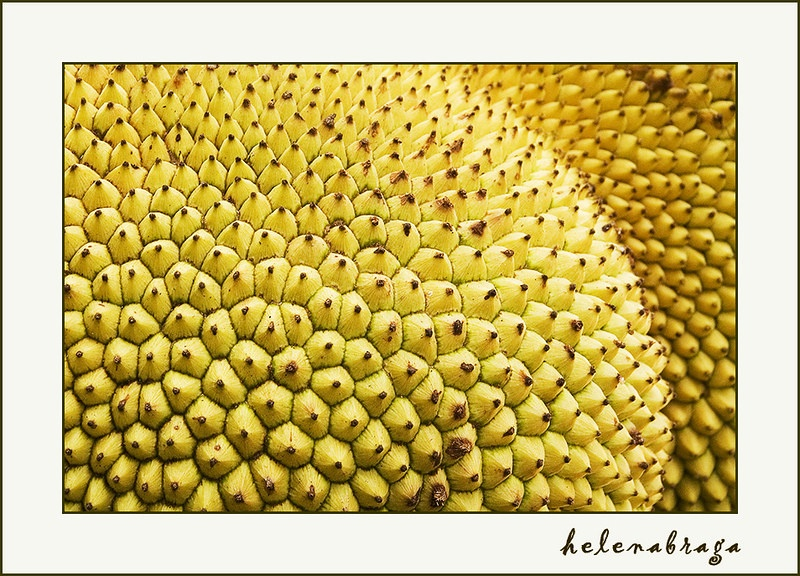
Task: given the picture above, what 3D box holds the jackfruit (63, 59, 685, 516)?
[{"bbox_3d":[-0.061,-0.103,4.301,2.188,1.539,1.804,0,1,10],"label":"jackfruit"}]
